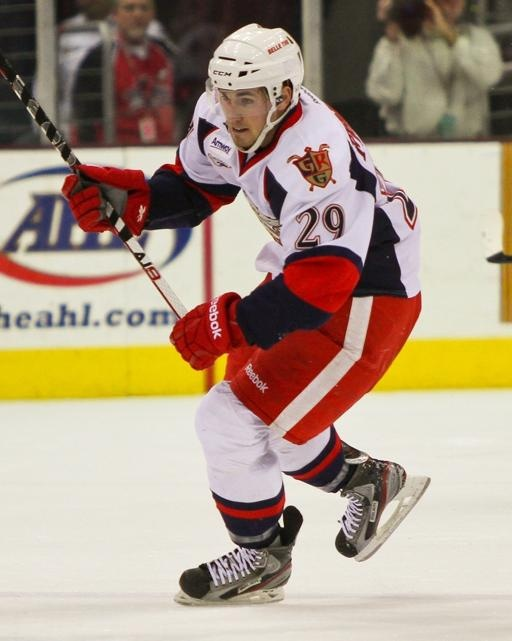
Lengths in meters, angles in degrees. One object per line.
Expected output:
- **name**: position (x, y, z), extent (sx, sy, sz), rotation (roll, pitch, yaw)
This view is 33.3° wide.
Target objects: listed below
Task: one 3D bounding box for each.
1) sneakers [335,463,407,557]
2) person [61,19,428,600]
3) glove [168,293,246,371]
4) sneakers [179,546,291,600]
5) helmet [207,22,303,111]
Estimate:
- **sneakers**: position (0.278, 0.462, 2.092), extent (0.168, 0.236, 0.088), rotation (16, 18, -46)
- **person**: position (-0.029, -0.011, 1.956), extent (0.711, 1.250, 0.497), rotation (4, 8, 29)
- **glove**: position (-0.105, 0.020, 1.768), extent (0.186, 0.131, 0.081), rotation (-36, -24, 25)
- **sneakers**: position (-0.037, 0.560, 1.886), extent (0.291, 0.106, 0.094), rotation (3, -9, -6)
- **helmet**: position (-0.009, -0.537, 1.785), extent (0.177, 0.182, 0.219), rotation (24, 39, 36)
